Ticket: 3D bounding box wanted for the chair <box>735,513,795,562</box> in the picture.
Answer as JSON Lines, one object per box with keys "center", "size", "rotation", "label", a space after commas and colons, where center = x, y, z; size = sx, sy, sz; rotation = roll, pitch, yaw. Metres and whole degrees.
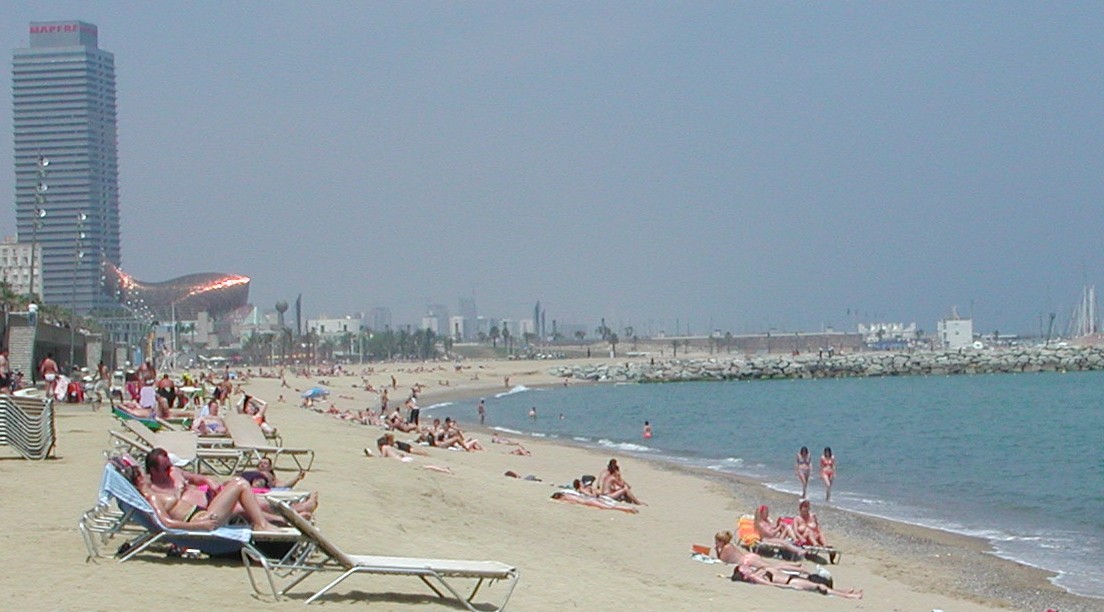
{"center": [14.848, 16.223, 94.597], "size": [3.608, 1.270, 2.612], "rotation": [12, -5, 4], "label": "chair"}
